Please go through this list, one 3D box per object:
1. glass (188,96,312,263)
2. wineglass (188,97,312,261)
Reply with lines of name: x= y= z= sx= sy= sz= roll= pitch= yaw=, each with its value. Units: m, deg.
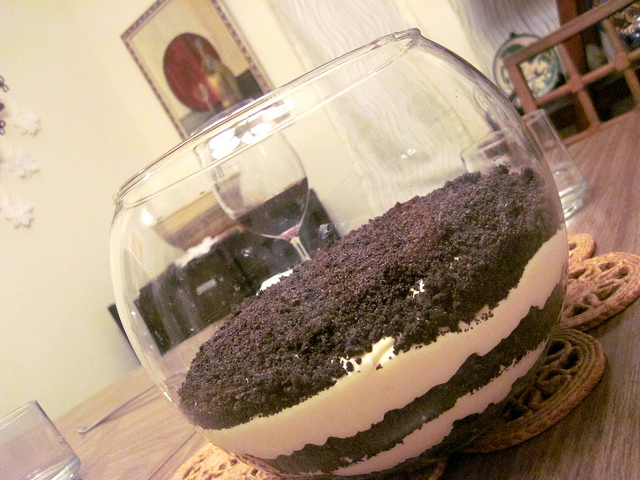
glass: x=-0.064 y=-0.052 z=0.525 sx=0.070 sy=0.165 sz=0.065 roll=-32 pitch=36 yaw=3
wineglass: x=-0.064 y=-0.053 z=0.525 sx=0.070 sy=0.162 sz=0.060 roll=-33 pitch=32 yaw=4
